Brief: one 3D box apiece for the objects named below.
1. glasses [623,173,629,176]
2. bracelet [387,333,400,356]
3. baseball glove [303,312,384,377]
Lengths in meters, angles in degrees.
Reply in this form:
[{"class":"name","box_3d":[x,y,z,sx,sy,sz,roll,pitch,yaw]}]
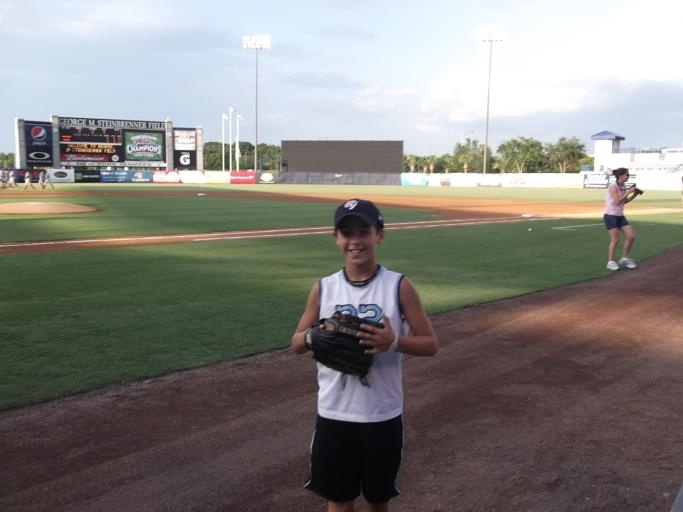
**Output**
[{"class":"glasses","box_3d":[5.975,-1.690,10.014,0.073,0.069,0.067,-6,15,-21]},{"class":"bracelet","box_3d":[0.265,0.448,2.352,0.078,0.074,0.077,-1,-1,1]},{"class":"baseball glove","box_3d":[0.051,0.394,2.493,0.425,0.195,0.317,-18,-8,0]}]
